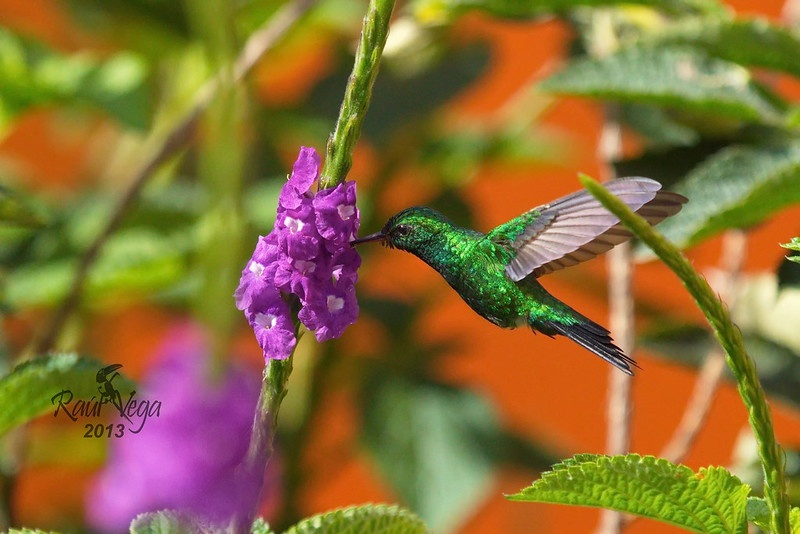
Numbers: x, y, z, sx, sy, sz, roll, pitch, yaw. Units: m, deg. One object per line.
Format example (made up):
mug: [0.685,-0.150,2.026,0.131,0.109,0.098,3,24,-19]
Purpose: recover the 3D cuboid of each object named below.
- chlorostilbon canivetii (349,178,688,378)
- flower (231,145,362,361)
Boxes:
chlorostilbon canivetii: [0.145,-0.011,1.146,0.320,0.143,0.222,6,8,9]
flower: [-0.097,-0.014,0.959,0.119,0.194,0.080,-4,19,-22]
